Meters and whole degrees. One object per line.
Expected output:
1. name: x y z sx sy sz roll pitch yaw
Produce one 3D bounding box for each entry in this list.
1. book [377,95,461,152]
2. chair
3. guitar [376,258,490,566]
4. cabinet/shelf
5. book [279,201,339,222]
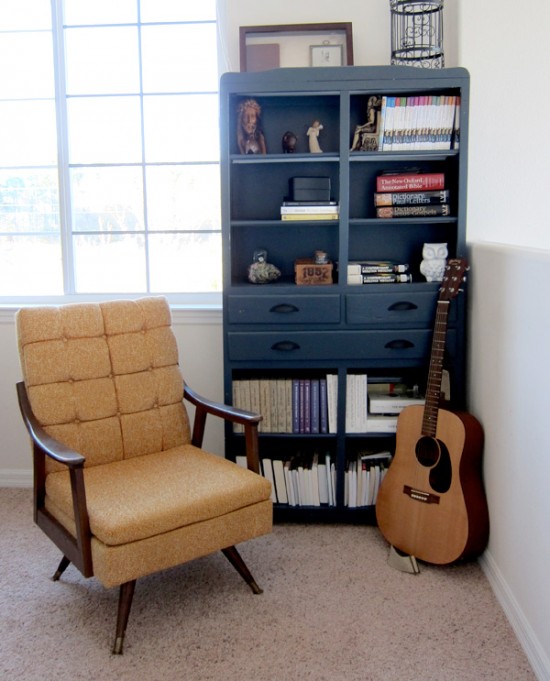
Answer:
1. book: 0.531 -0.791 2.185 0.215 0.236 0.080 2 28 6
2. chair: -0.434 0.320 1.914 0.604 0.855 0.775 -6 10 -32
3. guitar: 0.562 0.247 2.084 0.330 1.043 0.406 -3 8 -15
4. cabinet/shelf: 0.269 -0.135 2.391 0.890 1.770 0.462 0 -5 9
5. book: 0.130 -0.488 2.280 0.213 0.077 0.081 0 8 0
